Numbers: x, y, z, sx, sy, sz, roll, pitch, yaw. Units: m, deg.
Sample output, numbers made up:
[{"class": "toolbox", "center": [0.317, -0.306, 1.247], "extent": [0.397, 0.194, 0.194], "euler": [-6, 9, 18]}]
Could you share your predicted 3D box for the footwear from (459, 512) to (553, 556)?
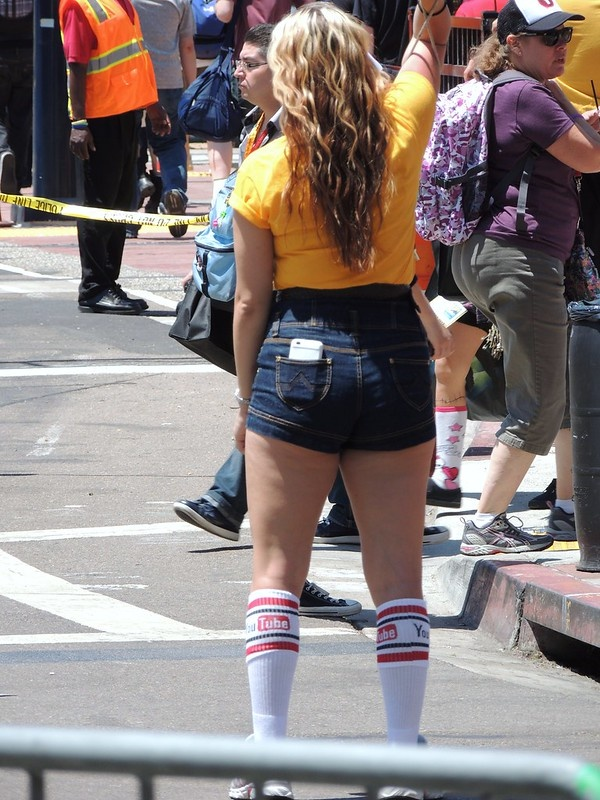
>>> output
[{"class": "footwear", "center": [0.933, 0.586, 4.806], "extent": [0.484, 0.181, 0.144], "euler": [0, 1, -9]}]

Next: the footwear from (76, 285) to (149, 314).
[{"class": "footwear", "center": [-1.665, -0.900, 9.904], "extent": [0.518, 0.173, 0.264], "euler": [0, 7, -5]}]

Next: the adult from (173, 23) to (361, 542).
[{"class": "adult", "center": [-0.144, -0.292, 4.606], "extent": [0.870, 1.812, 0.571], "euler": [-7, 14, -3]}]

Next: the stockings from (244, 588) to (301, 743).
[{"class": "stockings", "center": [-0.066, 0.599, 2.545], "extent": [0.112, 0.314, 0.140], "euler": [4, 10, -1]}]

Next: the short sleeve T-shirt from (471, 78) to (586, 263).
[{"class": "short sleeve T-shirt", "center": [0.928, -0.920, 4.454], "extent": [0.393, 0.683, 0.326], "euler": [5, 10, 10]}]

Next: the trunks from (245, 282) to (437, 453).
[{"class": "trunks", "center": [0.103, -0.067, 2.702], "extent": [0.522, 0.359, 0.257], "euler": [1, 5, -21]}]

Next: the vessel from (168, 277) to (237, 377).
[{"class": "vessel", "center": [-0.469, -0.385, 4.825], "extent": [0.216, 0.304, 0.332], "euler": [16, -12, -8]}]

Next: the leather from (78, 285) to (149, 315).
[{"class": "leather", "center": [-1.647, -0.885, 9.894], "extent": [0.638, 0.239, 0.236], "euler": [-1, 10, -7]}]

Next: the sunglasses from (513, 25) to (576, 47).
[{"class": "sunglasses", "center": [0.998, -1.441, 4.440], "extent": [0.152, 0.041, 0.118], "euler": [11, 18, 43]}]
